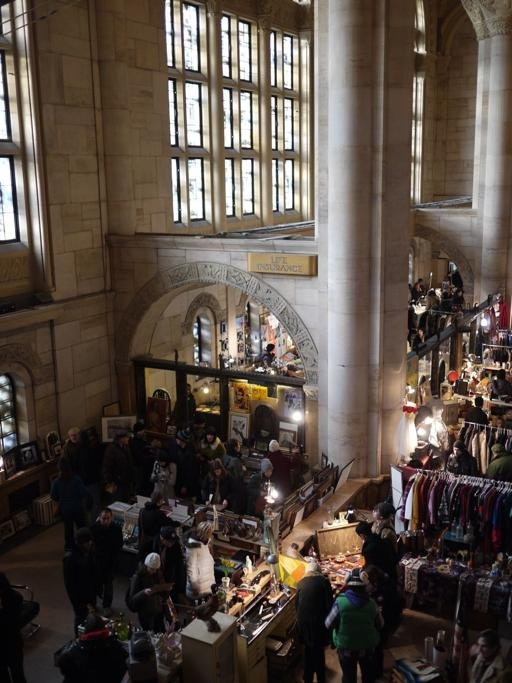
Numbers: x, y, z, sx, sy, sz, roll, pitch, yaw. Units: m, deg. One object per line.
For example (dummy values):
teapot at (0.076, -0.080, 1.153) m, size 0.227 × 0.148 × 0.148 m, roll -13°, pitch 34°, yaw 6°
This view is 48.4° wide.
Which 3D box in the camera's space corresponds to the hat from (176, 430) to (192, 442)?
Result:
hat at (-1.082, 1.422, 8.611) m, size 0.143 × 0.190 × 0.188 m, roll 4°, pitch 1°, yaw -14°

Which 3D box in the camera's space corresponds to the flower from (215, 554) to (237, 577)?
flower at (-0.315, 2.324, 5.950) m, size 0.223 × 0.058 × 0.252 m, roll 3°, pitch 8°, yaw 14°

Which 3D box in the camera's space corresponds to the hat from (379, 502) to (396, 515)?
hat at (1.316, 1.646, 5.674) m, size 0.140 × 0.108 × 0.111 m, roll -11°, pitch 18°, yaw -38°

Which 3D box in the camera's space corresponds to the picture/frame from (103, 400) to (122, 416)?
picture/frame at (-2.837, 1.307, 11.146) m, size 0.028 × 0.208 × 0.285 m, roll -6°, pitch 12°, yaw 34°

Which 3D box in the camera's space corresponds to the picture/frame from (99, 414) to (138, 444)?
picture/frame at (-2.464, 1.587, 10.206) m, size 0.499 × 0.452 × 0.051 m, roll -2°, pitch -8°, yaw -17°

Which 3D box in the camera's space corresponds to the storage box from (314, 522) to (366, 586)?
storage box at (0.977, 2.476, 6.732) m, size 0.550 × 0.331 × 1.004 m, roll 0°, pitch 6°, yaw 10°

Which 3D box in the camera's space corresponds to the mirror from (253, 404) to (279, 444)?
mirror at (0.189, 1.448, 10.025) m, size 0.661 × 0.973 × 0.096 m, roll 2°, pitch 2°, yaw 44°

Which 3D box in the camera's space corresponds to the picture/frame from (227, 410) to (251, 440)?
picture/frame at (-0.295, 1.503, 10.351) m, size 0.476 × 0.624 × 0.047 m, roll 5°, pitch 6°, yaw 35°

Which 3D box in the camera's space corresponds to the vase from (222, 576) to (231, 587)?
vase at (-0.288, 2.316, 5.500) m, size 0.094 × 0.107 × 0.097 m, roll -1°, pitch 16°, yaw -6°

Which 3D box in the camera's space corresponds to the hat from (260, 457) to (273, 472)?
hat at (0.136, 1.562, 7.106) m, size 0.158 × 0.176 × 0.176 m, roll -3°, pitch 5°, yaw -31°

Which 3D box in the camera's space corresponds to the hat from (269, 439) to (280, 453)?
hat at (0.265, 1.457, 8.243) m, size 0.168 × 0.240 × 0.238 m, roll 2°, pitch -37°, yaw 5°

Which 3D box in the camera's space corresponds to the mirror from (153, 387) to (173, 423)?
mirror at (-1.873, 1.292, 11.209) m, size 0.403 × 0.634 × 0.387 m, roll 0°, pitch 6°, yaw 12°

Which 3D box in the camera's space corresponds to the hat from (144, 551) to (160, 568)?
hat at (-0.876, 1.826, 4.797) m, size 0.108 × 0.133 × 0.140 m, roll 1°, pitch 9°, yaw -5°
